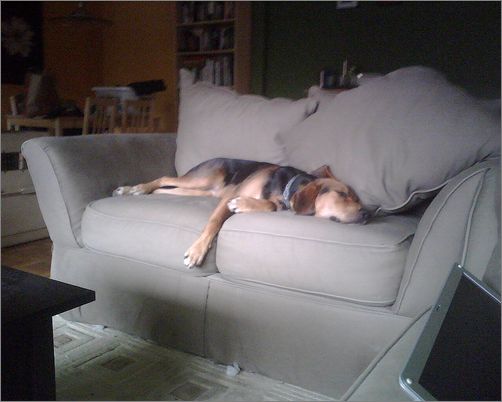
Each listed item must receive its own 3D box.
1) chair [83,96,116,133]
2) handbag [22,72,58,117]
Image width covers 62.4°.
[{"bbox_3d":[-1.230,-0.688,3.360,0.265,0.297,0.481,-4,14,-19],"label":"chair"},{"bbox_3d":[-1.983,-1.012,3.908,0.271,0.406,0.302,-3,14,-15],"label":"handbag"}]
